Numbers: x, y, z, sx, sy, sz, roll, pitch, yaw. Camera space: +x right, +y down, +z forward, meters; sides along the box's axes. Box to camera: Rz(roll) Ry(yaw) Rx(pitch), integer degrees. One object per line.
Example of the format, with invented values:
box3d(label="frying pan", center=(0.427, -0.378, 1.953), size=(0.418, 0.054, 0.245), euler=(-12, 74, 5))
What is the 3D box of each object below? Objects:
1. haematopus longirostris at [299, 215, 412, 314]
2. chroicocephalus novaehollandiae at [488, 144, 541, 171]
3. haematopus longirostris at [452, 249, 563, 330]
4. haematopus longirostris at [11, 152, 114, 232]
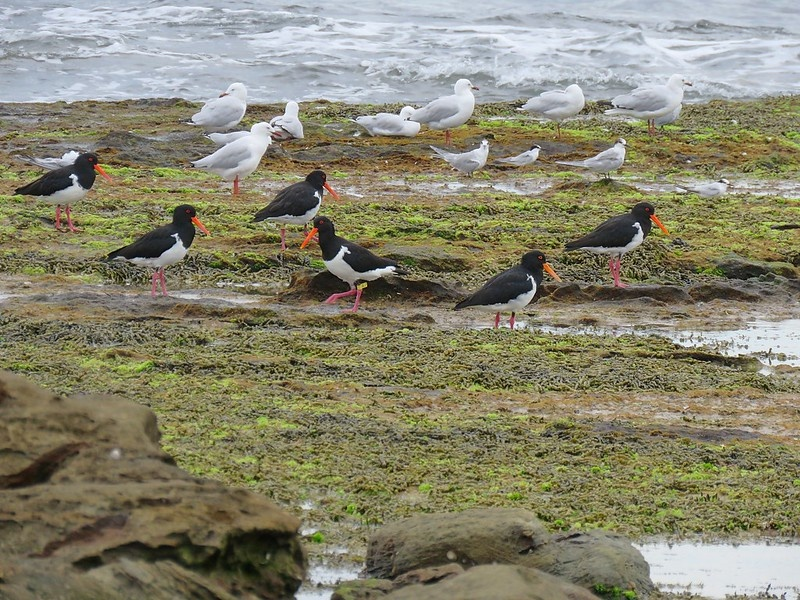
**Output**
box3d(label="haematopus longirostris", center=(-0.776, -0.634, 16.280), size=(1.960, 1.258, 1.963), euler=(14, 24, 36))
box3d(label="chroicocephalus novaehollandiae", center=(2.871, -3.532, 26.467), size=(1.089, 0.560, 1.006), euler=(0, 8, 2))
box3d(label="haematopus longirostris", center=(1.525, -0.141, 15.252), size=(0.879, 1.087, 0.979), euler=(4, 12, 19))
box3d(label="haematopus longirostris", center=(-5.934, -1.912, 19.109), size=(2.353, 1.023, 0.931), euler=(3, 0, 31))
